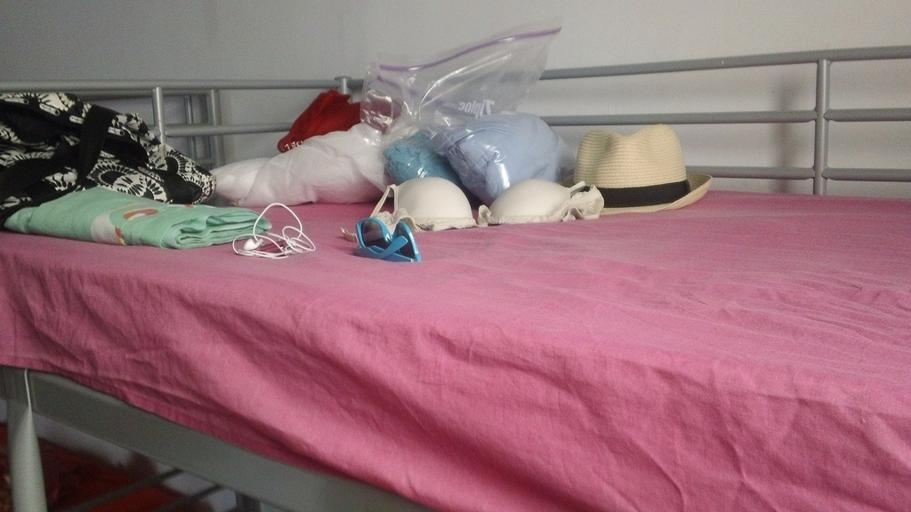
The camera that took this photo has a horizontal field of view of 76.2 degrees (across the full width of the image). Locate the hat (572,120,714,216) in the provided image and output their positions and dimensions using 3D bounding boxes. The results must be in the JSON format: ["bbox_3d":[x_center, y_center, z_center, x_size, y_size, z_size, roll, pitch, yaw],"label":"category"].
[{"bbox_3d":[0.492,-0.231,1.541,0.344,0.228,0.240,5,13,18],"label":"hat"}]

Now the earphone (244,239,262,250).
[{"bbox_3d":[-0.401,-0.021,1.145,0.026,0.011,0.030,-8,12,-12],"label":"earphone"}]

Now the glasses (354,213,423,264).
[{"bbox_3d":[-0.138,-0.037,1.131,0.130,0.063,0.077,8,15,32],"label":"glasses"}]
